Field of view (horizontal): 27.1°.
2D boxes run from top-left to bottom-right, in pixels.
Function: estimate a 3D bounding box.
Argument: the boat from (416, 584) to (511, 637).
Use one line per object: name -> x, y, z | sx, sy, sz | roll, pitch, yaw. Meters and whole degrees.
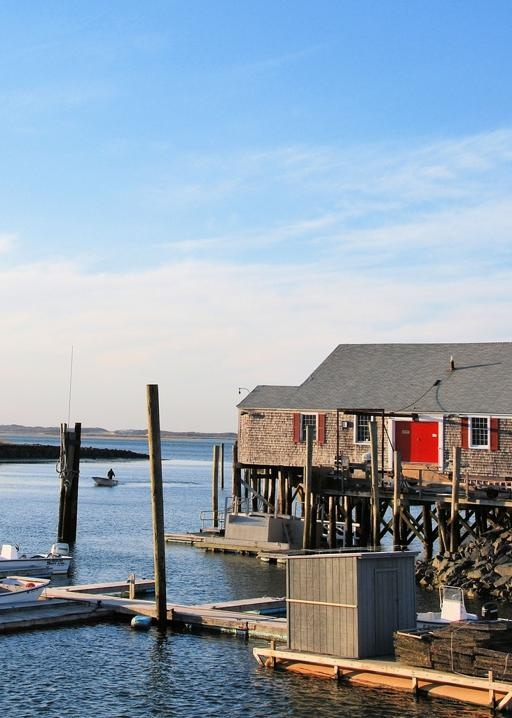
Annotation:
boat -> 3.912, 5.063, 20.787 | 1.170, 0.812, 2.140 | 3, -6, -25
